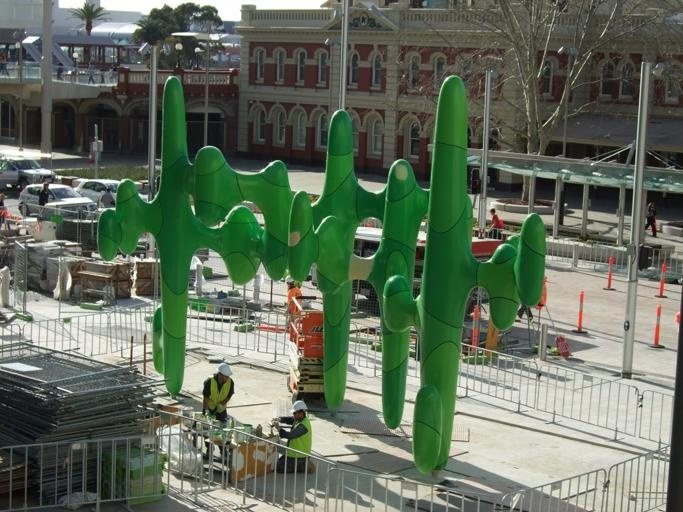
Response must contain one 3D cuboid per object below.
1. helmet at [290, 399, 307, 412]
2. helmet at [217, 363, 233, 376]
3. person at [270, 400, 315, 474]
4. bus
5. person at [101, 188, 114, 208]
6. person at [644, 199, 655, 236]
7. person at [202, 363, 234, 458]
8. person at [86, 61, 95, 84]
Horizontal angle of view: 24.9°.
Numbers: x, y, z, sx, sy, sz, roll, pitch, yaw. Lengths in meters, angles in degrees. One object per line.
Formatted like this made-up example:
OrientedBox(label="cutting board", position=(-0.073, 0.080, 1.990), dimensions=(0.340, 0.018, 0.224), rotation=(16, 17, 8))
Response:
OrientedBox(label="helmet", position=(-1.182, 4.074, 42.537), dimensions=(0.383, 0.239, 0.303), rotation=(2, -3, -3))
OrientedBox(label="helmet", position=(-3.360, 3.179, 43.604), dimensions=(0.300, 0.216, 0.382), rotation=(-6, 12, -35))
OrientedBox(label="person", position=(-1.386, 4.903, 42.822), dimensions=(0.957, 1.929, 1.181), rotation=(-3, 14, -18))
OrientedBox(label="bus", position=(1.812, 0.719, 55.182), dimensions=(7.122, 3.600, 2.865), rotation=(5, 7, 20))
OrientedBox(label="person", position=(-10.196, -2.485, 67.239), dimensions=(0.641, 1.465, 0.437), rotation=(4, 46, -6))
OrientedBox(label="person", position=(13.332, -1.562, 66.953), dimensions=(0.469, 1.485, 2.217), rotation=(2, 5, 12))
OrientedBox(label="person", position=(-3.453, 3.840, 43.503), dimensions=(0.859, 1.618, 0.741), rotation=(-1, 4, -22))
OrientedBox(label="person", position=(-14.709, -10.648, 90.790), dimensions=(0.309, 1.229, 1.632), rotation=(0, 5, -9))
